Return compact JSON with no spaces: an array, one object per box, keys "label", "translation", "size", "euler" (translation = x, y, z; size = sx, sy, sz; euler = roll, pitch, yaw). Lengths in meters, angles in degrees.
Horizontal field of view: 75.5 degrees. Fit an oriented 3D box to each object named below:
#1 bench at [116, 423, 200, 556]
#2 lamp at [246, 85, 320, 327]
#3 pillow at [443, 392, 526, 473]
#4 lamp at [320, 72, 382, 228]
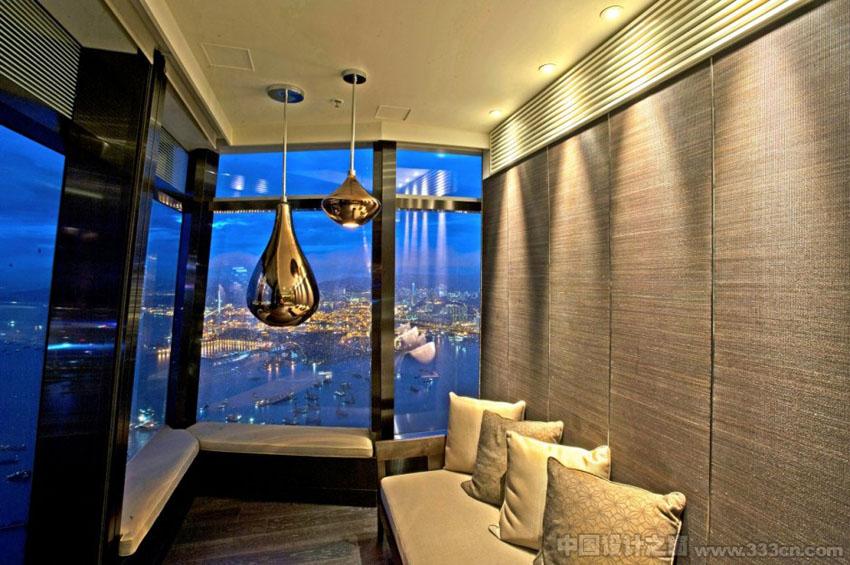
[{"label":"bench","translation":[-1.794,1.320,3.672],"size":[0.384,0.249,1.248],"euler":[9,8,-14]},{"label":"lamp","translation":[-0.921,-0.557,3.479],"size":[0.386,1.671,0.947],"euler":[0,-2,-17]},{"label":"pillow","translation":[0.416,1.049,3.762],"size":[0.555,0.500,0.207],"euler":[3,-21,29]},{"label":"lamp","translation":[-0.504,-0.869,3.716],"size":[0.335,1.081,1.019],"euler":[0,-2,-7]}]
